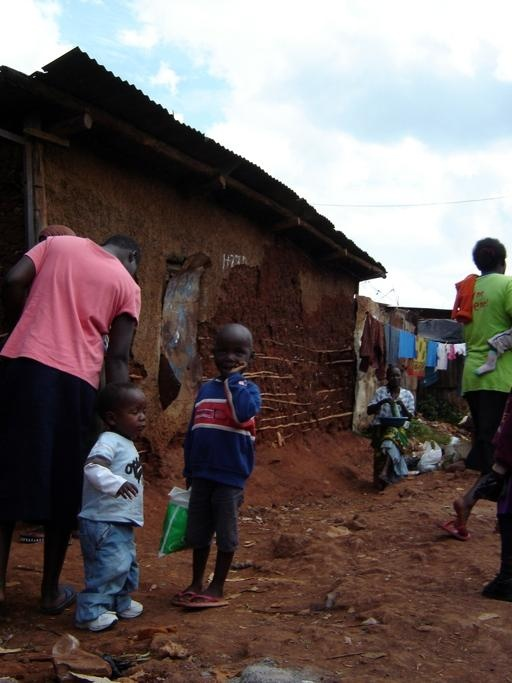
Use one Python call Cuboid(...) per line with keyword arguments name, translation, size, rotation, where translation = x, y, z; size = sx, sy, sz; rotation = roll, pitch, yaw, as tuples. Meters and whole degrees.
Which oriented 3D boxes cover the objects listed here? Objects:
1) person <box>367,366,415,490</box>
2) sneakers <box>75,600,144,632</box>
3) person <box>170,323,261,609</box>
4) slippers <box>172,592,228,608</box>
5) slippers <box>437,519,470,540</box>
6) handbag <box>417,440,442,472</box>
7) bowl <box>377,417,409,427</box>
Cuboid(name="person", translation=(1.540, 0.971, 7.201), size=(0.510, 1.360, 0.876), rotation=(-2, -4, 12))
Cuboid(name="sneakers", translation=(-0.608, 1.148, 2.627), size=(0.259, 0.102, 0.081), rotation=(-1, -5, -15))
Cuboid(name="person", translation=(-0.184, 0.598, 3.089), size=(0.419, 1.364, 0.382), rotation=(-1, -3, -1))
Cuboid(name="slippers", translation=(-0.242, 1.219, 2.953), size=(0.197, 0.039, 0.091), rotation=(9, -7, -22))
Cuboid(name="slippers", translation=(1.204, 1.158, 3.914), size=(0.130, 0.108, 0.254), rotation=(0, -4, -21))
Cuboid(name="handbag", translation=(1.945, 1.295, 7.113), size=(0.181, 0.219, 0.378), rotation=(-26, 4, 35))
Cuboid(name="bowl", translation=(1.523, 0.906, 7.037), size=(0.300, 0.119, 0.205), rotation=(-2, -4, 9))
